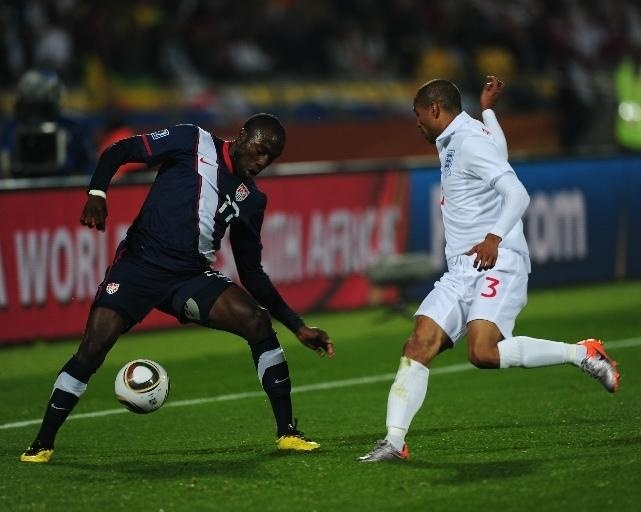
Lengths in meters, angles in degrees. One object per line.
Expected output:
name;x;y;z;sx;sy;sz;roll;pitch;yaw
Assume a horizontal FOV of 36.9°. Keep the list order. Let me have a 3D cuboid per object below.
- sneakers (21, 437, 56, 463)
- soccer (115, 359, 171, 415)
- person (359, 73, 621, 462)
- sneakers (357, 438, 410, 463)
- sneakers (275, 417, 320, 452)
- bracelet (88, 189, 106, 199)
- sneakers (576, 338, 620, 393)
sneakers;-1.768;1.232;6.049;0.199;0.107;0.105;5;-1;-1
soccer;-1.088;0.798;6.059;0.347;0.322;0.324;1;12;-1
person;0.988;0.073;5.947;1.353;2.357;0.781;1;5;15
sneakers;0.385;1.189;5.843;0.366;0.147;0.119;1;-6;-1
sneakers;-0.097;1.181;6.291;0.398;0.264;0.129;0;0;2
bracelet;-1.347;-0.377;5.797;0.102;0.056;0.089;-1;5;-17
sneakers;1.786;0.707;6.208;0.168;0.198;0.464;5;-26;45
